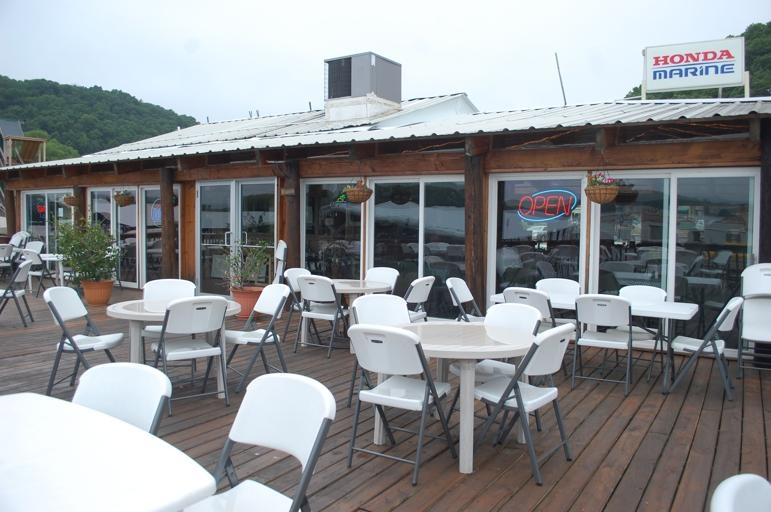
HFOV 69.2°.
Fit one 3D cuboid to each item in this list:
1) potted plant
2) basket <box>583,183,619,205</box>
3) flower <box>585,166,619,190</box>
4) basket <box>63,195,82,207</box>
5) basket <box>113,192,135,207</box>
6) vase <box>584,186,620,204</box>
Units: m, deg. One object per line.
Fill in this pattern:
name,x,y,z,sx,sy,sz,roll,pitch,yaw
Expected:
potted plant,-5.719,0.007,10.830,1.438,2.135,1.587,-6,6,-33
basket,2.745,-0.761,7.119,0.323,0.199,0.323,0,0,1
flower,2.828,-1.035,7.386,0.341,0.243,0.432,-3,6,-23
basket,-6.978,-1.213,12.359,0.298,0.191,0.294,-1,1,22
basket,-5.393,-1.196,11.560,0.394,0.223,0.385,-5,4,-22
vase,2.751,-0.799,7.098,0.222,0.225,0.333,-7,7,-30
